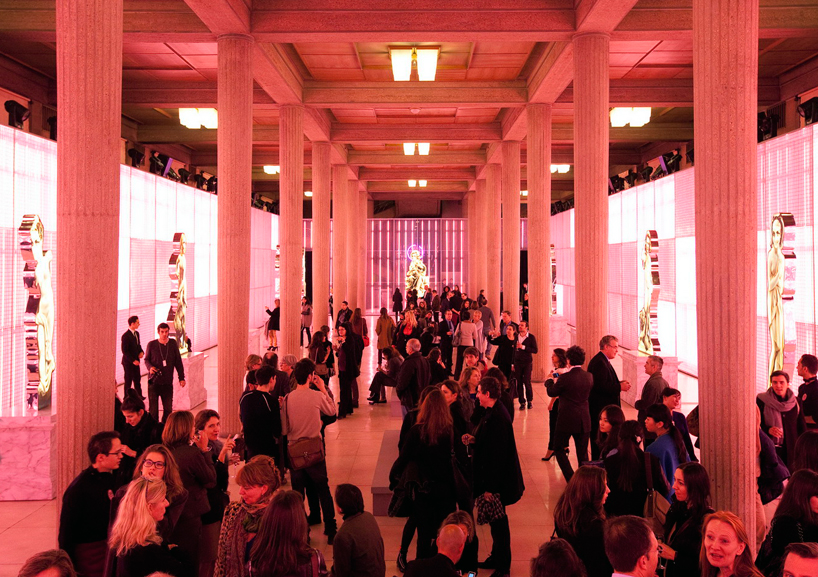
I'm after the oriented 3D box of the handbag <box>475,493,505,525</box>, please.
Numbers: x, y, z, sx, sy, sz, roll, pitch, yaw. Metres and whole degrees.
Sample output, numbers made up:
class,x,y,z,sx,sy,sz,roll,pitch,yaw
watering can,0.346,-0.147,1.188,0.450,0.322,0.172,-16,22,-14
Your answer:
class,x,y,z,sx,sy,sz,roll,pitch,yaw
handbag,0.865,2.317,6.947,0.307,0.282,0.158,-6,-14,-6

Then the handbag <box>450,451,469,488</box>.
class,x,y,z,sx,sy,sz,roll,pitch,yaw
handbag,0.492,1.897,6.809,0.172,0.478,0.050,-8,5,-39

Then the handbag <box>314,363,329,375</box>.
class,x,y,z,sx,sy,sz,roll,pitch,yaw
handbag,-1.611,1.490,12.122,0.166,0.209,0.305,-1,0,8

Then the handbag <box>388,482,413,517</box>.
class,x,y,z,sx,sy,sz,roll,pitch,yaw
handbag,-0.079,2.198,6.813,0.249,0.334,0.320,2,3,13

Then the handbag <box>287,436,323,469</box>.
class,x,y,z,sx,sy,sz,roll,pitch,yaw
handbag,-1.220,1.931,7.759,0.343,0.301,0.124,-7,-6,-6

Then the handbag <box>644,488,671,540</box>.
class,x,y,z,sx,sy,sz,roll,pitch,yaw
handbag,2.235,2.049,5.934,0.186,0.429,0.442,-11,-12,28

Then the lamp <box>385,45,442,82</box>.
class,x,y,z,sx,sy,sz,roll,pitch,yaw
lamp,0.100,-4.482,13.005,0.844,0.542,0.860,-1,2,2
